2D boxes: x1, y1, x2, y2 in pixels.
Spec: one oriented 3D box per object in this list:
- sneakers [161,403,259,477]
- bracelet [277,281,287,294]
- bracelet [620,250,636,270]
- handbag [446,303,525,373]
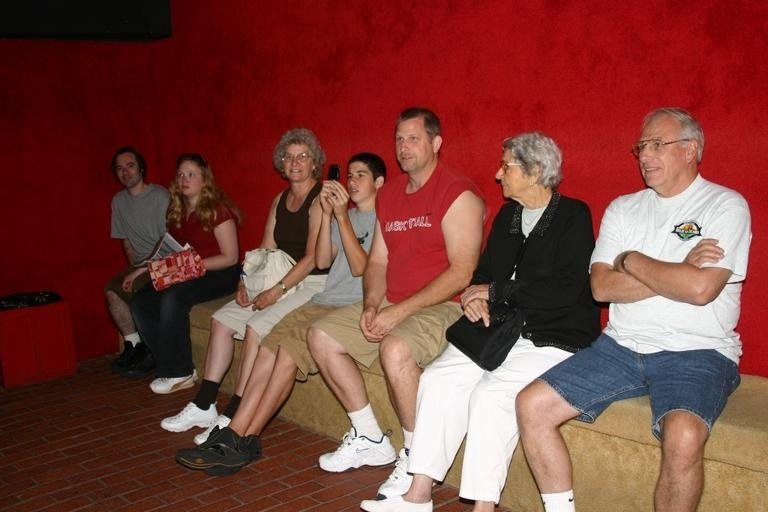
[{"bbox_3d":[-0.961,1.113,3.250,0.236,0.173,0.397,4,-1,41],"label":"sneakers"},{"bbox_3d":[-0.702,0.220,3.828,0.055,0.082,0.027,-20,3,-26],"label":"bracelet"},{"bbox_3d":[1.201,0.024,2.741,0.042,0.058,0.076,42,46,-4],"label":"bracelet"},{"bbox_3d":[0.566,0.461,2.944,0.336,0.338,0.155,43,6,38],"label":"handbag"}]
